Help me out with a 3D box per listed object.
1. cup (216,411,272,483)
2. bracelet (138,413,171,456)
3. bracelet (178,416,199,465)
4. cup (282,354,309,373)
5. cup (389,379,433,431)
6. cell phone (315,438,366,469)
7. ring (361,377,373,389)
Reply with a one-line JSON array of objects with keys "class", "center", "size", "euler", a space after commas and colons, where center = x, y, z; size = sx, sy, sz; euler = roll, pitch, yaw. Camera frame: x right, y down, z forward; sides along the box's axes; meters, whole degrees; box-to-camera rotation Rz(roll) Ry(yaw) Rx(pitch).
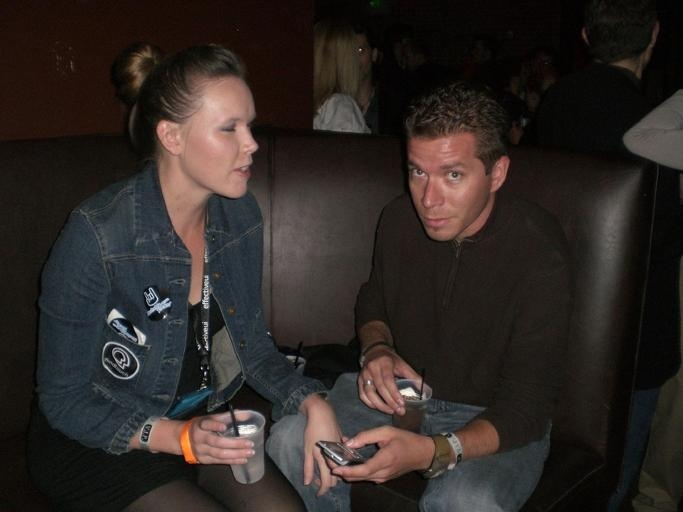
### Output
[{"class": "cup", "center": [-0.368, 0.747, 2.303], "size": [0.158, 0.315, 0.211], "euler": [-6, 21, -12]}, {"class": "bracelet", "center": [-0.694, 0.674, 2.261], "size": [0.158, 0.096, 0.147], "euler": [4, -5, -11]}, {"class": "bracelet", "center": [-0.569, 0.696, 2.220], "size": [0.033, 0.123, 0.130], "euler": [-13, 50, -14]}, {"class": "cup", "center": [-0.226, 0.549, 3.059], "size": [0.121, 0.138, 0.130], "euler": [-3, -2, 0]}, {"class": "cup", "center": [0.294, 0.610, 2.480], "size": [0.146, 0.203, 0.159], "euler": [-1, 20, 0]}, {"class": "cell phone", "center": [0.000, 0.743, 2.236], "size": [0.114, 0.032, 0.112], "euler": [13, 5, 9]}, {"class": "ring", "center": [0.114, 0.549, 2.553], "size": [0.034, 0.026, 0.032], "euler": [-9, 35, 6]}]
